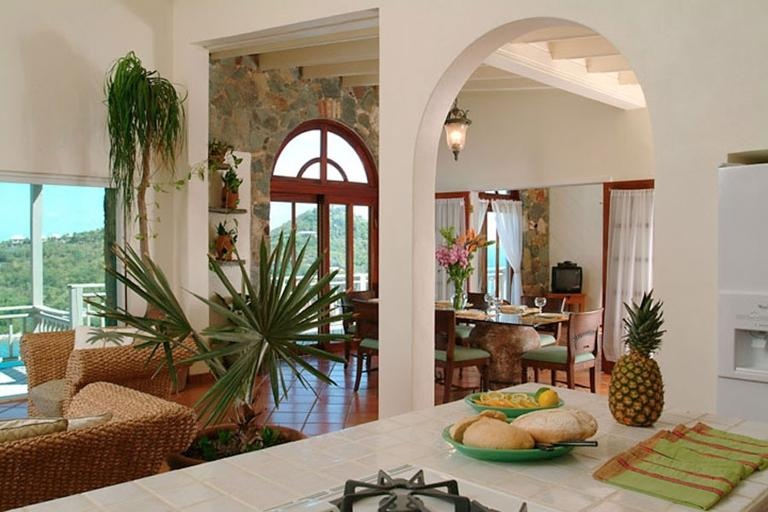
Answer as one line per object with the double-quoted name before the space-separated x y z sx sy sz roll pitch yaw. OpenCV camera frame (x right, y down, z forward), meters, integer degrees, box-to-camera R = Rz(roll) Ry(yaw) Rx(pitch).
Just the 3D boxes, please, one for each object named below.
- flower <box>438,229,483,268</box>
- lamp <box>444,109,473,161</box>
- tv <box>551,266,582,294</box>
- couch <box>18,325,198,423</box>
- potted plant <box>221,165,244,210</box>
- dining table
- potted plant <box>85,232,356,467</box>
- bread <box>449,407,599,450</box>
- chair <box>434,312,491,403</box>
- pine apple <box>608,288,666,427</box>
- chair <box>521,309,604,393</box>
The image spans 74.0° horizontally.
"flower" 0.850 -0.131 6.185 0.588 0.449 0.714 -2 9 -8
"lamp" 0.863 -1.471 6.009 0.260 0.620 0.485 0 9 7
"tv" 3.473 0.437 10.026 0.777 0.714 0.459 0 -3 9
"couch" -2.188 0.904 4.406 1.263 0.772 1.297 -3 -9 41
"potted plant" -1.901 -0.864 6.377 0.242 0.523 0.290 -3 9 -12
"dining table" 1.369 0.960 5.792 1.103 0.650 1.083 -1 2 -10
"potted plant" -1.238 0.618 3.565 1.443 1.104 1.446 16 -49 -34
"bread" 0.446 0.545 1.602 0.265 0.059 0.195 -1 -5 6
"chair" 0.814 1.001 5.381 0.685 1.036 0.338 -9 12 -43
"pine apple" 0.938 0.370 1.876 0.170 0.484 0.239 4 10 29
"chair" 1.876 1.001 5.432 0.632 0.951 0.664 6 11 36
